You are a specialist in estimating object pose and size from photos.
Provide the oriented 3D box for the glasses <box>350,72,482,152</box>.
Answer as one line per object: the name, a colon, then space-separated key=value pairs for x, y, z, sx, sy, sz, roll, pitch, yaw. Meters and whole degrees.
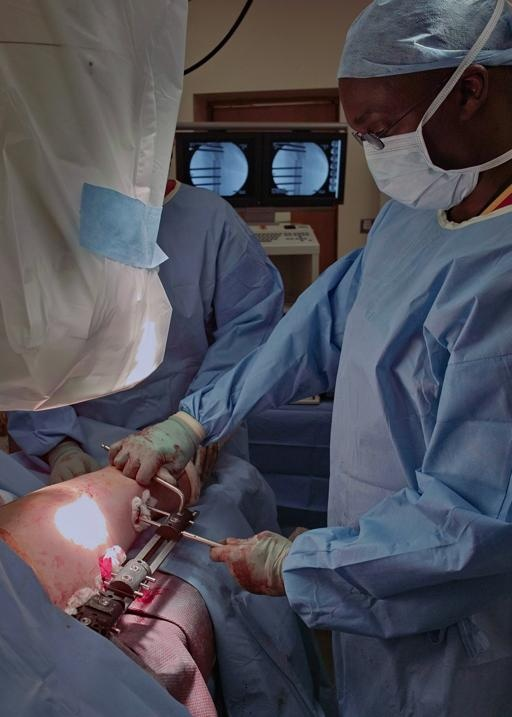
glasses: x=0.249 y=-0.410 z=0.968 sx=0.125 sy=0.065 sz=0.118 roll=-33 pitch=9 yaw=16
